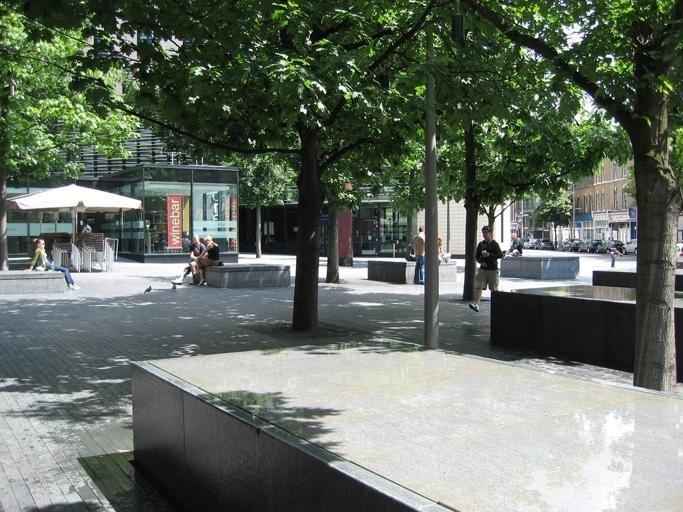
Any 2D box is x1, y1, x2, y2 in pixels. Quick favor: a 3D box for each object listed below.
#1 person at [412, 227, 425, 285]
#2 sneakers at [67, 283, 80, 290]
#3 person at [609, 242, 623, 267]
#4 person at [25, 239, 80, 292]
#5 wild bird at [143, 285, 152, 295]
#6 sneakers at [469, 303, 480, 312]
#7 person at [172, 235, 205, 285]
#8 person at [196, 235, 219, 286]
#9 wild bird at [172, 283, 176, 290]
[{"bbox_3d":[2.649,0.113,21.369,0.338,1.769,1.055,-5,1,0],"label":"person"},{"bbox_3d":[-8.428,0.968,19.664,0.399,0.182,0.205,-1,1,5],"label":"sneakers"},{"bbox_3d":[20.592,-0.151,46.799,0.795,1.553,0.391,7,-26,17],"label":"person"},{"bbox_3d":[-9.165,0.253,20.057,1.460,1.702,0.944,-1,-7,-20],"label":"person"},{"bbox_3d":[-5.700,0.992,18.408,0.290,0.231,0.165,-6,-3,39],"label":"wild bird"},{"bbox_3d":[3.073,1.168,14.325,0.131,0.145,0.337,21,-22,50],"label":"sneakers"},{"bbox_3d":[-5.121,0.086,21.131,0.547,1.093,1.873,1,21,14],"label":"person"},{"bbox_3d":[-4.486,0.124,20.814,0.745,1.634,0.542,-5,1,0],"label":"person"},{"bbox_3d":[-5.200,0.947,19.229,0.132,0.200,0.193,1,1,3],"label":"wild bird"}]
